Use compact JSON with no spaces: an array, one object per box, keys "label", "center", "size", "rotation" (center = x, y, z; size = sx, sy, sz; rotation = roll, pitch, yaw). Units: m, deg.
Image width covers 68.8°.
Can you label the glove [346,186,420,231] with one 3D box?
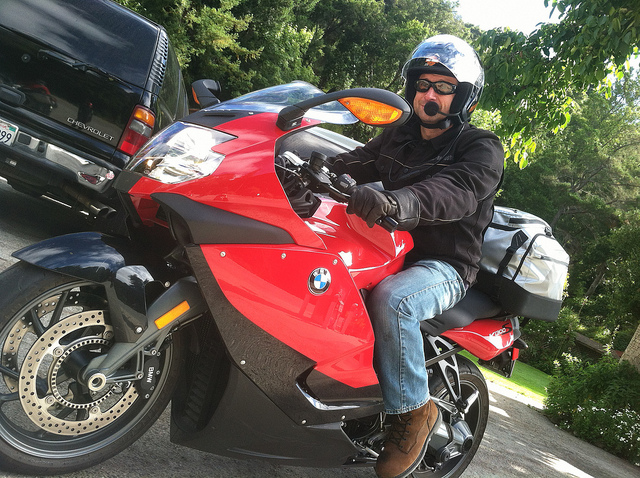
[{"label":"glove","center":[0.309,-0.134,2.308],"size":[0.274,0.217,0.129],"rotation":[8,-34,-20]}]

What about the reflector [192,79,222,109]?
[{"label":"reflector","center":[-0.631,-0.787,2.658],"size":[0.189,0.209,0.147],"rotation":[2,-22,-20]}]

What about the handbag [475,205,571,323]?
[{"label":"handbag","center":[1.452,0.154,3.585],"size":[0.592,0.812,0.781],"rotation":[9,2,-28]}]
